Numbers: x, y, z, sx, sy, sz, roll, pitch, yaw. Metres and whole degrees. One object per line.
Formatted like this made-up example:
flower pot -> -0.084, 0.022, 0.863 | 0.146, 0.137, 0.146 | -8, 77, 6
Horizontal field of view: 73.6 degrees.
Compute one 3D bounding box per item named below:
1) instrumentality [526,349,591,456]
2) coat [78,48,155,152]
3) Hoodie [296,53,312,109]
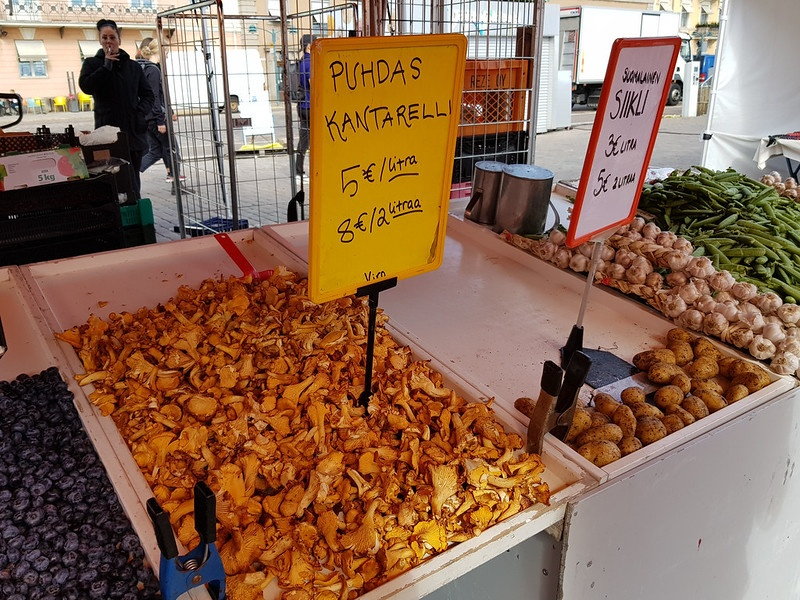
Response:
instrumentality -> 0.471, 0.329, 1.623 | 0.141, 0.366, 0.070 | -18, 40, -22
coat -> -3.268, -2.447, 6.363 | 0.524, 1.038, 0.714 | 2, 21, 45
Hoodie -> -1.028, -2.435, 5.842 | 0.152, 0.548, 0.322 | -12, 40, -8
